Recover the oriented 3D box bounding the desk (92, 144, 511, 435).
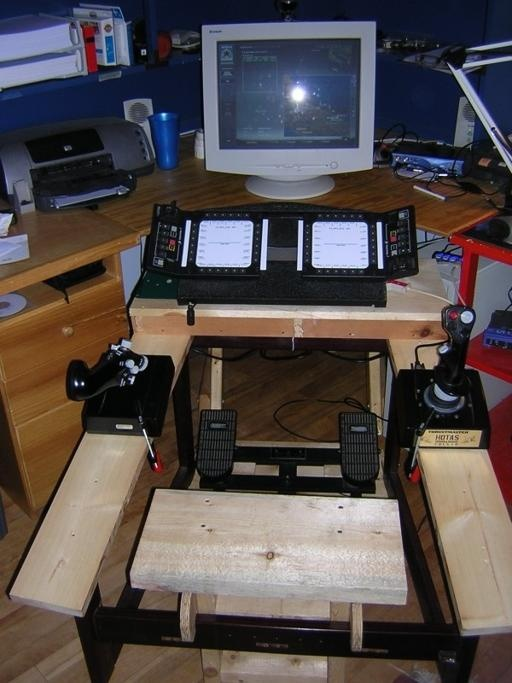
[{"bbox_3d":[0.152,-0.051,2.081,1.458,0.706,0.767,2,44,2],"label":"desk"}]
